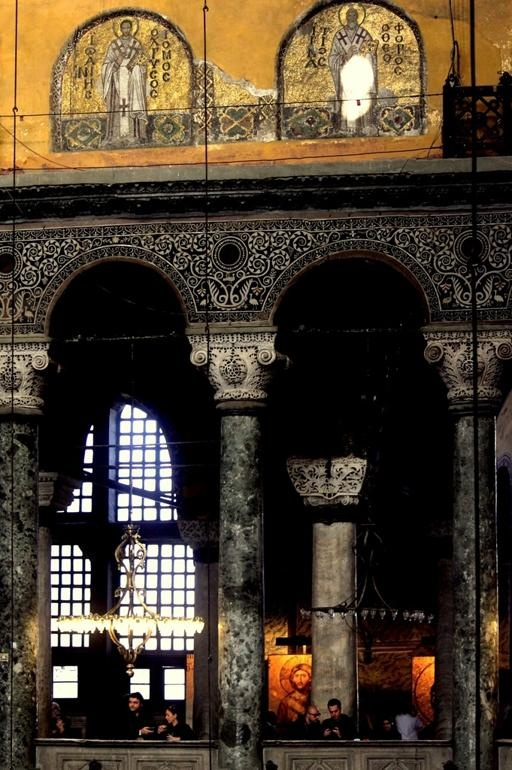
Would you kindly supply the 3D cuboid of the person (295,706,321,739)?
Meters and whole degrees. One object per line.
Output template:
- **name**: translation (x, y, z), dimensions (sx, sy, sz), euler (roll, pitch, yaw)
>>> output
- **person**: translation (0.558, 3.264, 26.166), dimensions (0.256, 0.293, 0.791), euler (-2, -5, 1)
